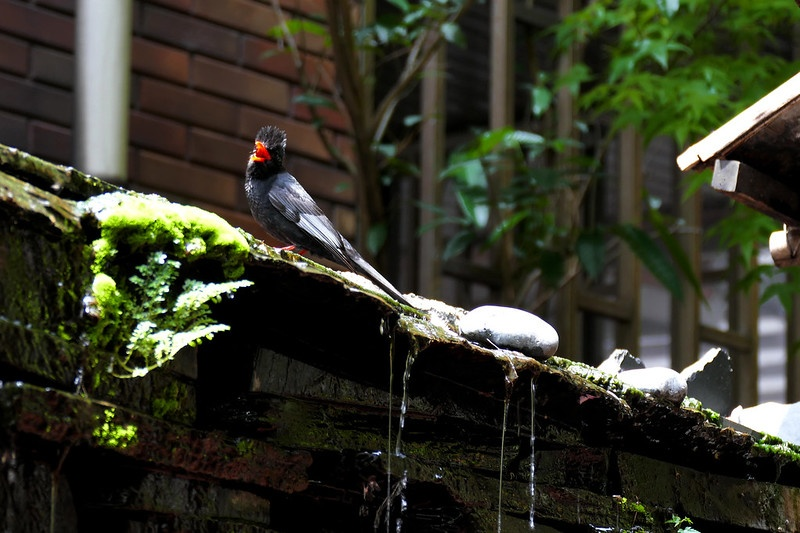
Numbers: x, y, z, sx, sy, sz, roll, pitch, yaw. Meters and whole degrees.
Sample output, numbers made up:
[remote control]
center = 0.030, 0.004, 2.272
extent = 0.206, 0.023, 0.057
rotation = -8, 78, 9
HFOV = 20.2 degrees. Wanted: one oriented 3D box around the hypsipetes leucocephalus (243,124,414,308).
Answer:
[hypsipetes leucocephalus]
center = -0.664, -0.402, 16.556
extent = 1.009, 1.135, 0.428
rotation = 5, -25, -5
